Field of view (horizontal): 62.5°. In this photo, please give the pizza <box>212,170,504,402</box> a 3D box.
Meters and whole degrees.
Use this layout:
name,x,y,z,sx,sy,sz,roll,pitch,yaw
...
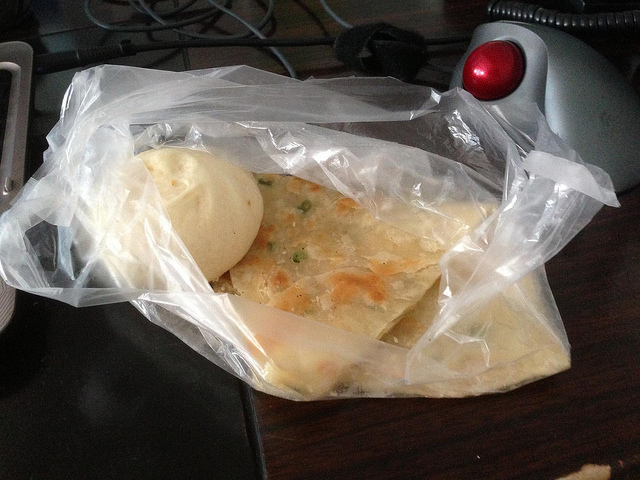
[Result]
name,x,y,z,sx,sy,sz,roll,pitch,yaw
pizza,0.029,0.072,0.544,0.219,0.065,0.251,14,49,9
